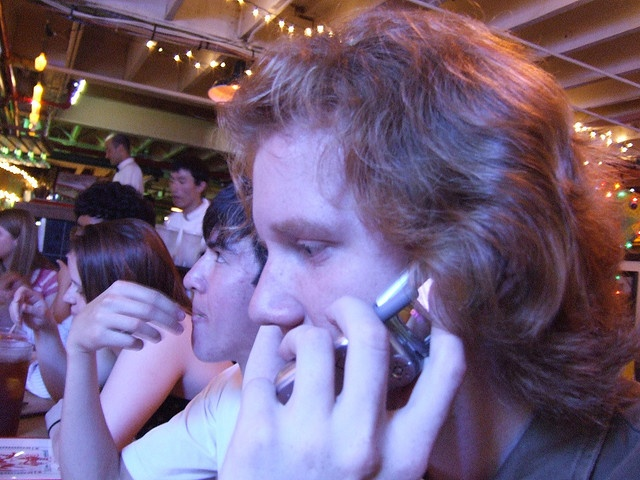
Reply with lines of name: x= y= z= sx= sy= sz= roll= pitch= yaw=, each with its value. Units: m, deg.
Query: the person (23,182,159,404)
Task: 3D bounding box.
person: x=-1.495 y=0.441 z=3.664 sx=0.769 sy=1.546 sz=0.727 roll=12 pitch=29 yaw=-6
